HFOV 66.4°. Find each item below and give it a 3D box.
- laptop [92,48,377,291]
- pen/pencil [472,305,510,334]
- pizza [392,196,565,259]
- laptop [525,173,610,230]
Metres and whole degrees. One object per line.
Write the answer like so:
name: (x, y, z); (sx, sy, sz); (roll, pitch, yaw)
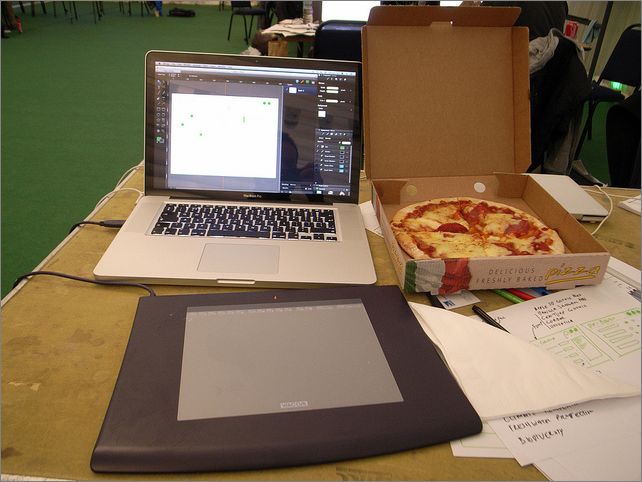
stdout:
laptop: (-0.154, -0.175, 1.041); (0.578, 0.348, 0.468); (-1, 31, -9)
pen/pencil: (0.331, 0.147, 0.969); (0.022, 0.015, 0.105); (-41, 35, 3)
pizza: (0.319, -0.020, 1.148); (0.248, 0.270, 0.036); (-11, 71, -13)
laptop: (0.636, -0.117, 1.244); (0.146, 0.029, 0.148); (3, 39, -17)
